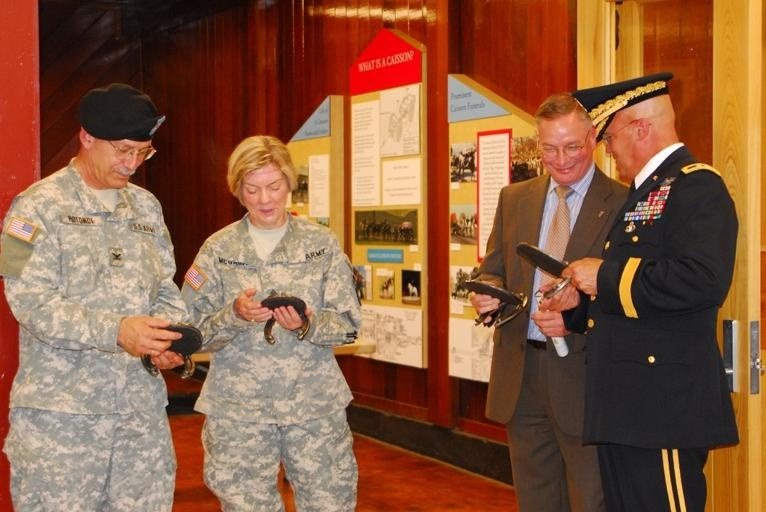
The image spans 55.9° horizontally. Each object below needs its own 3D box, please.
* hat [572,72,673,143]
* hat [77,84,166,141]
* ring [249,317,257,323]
[{"bbox_3d":[1.061,-0.706,3.210,0.338,0.181,0.283,-32,3,26],"label":"hat"},{"bbox_3d":[-1.125,-0.614,3.147,0.329,0.186,0.239,3,8,6],"label":"hat"},{"bbox_3d":[-0.585,0.285,3.247,0.022,0.021,0.006,3,42,-2],"label":"ring"}]
